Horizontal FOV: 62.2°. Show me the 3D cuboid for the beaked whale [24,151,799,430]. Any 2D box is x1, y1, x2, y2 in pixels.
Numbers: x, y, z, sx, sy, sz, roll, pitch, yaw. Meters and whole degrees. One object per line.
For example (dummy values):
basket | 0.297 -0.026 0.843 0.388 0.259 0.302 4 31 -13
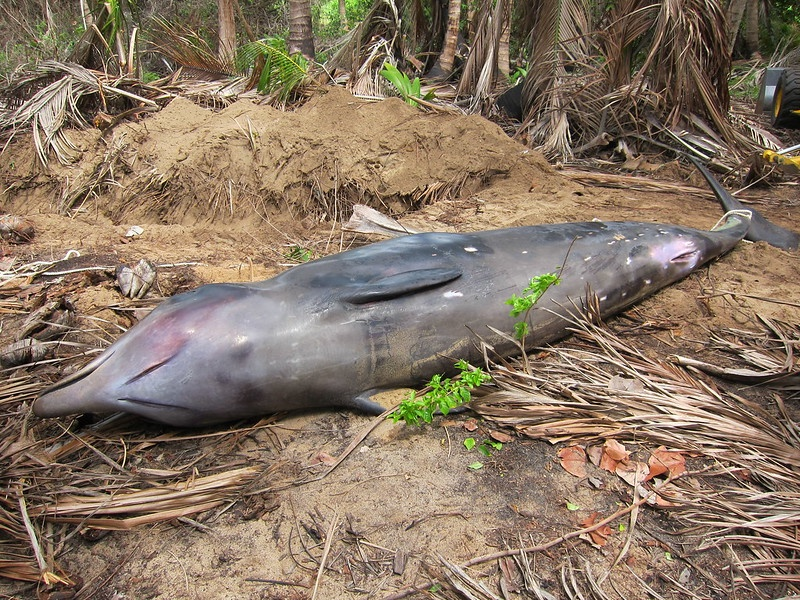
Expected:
beaked whale | 0.159 -0.010 4.507 4.893 0.699 1.350 -12 38 -12
